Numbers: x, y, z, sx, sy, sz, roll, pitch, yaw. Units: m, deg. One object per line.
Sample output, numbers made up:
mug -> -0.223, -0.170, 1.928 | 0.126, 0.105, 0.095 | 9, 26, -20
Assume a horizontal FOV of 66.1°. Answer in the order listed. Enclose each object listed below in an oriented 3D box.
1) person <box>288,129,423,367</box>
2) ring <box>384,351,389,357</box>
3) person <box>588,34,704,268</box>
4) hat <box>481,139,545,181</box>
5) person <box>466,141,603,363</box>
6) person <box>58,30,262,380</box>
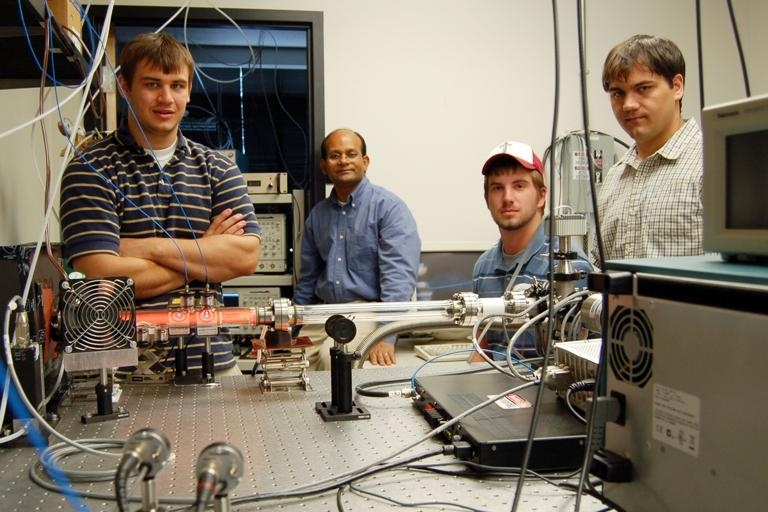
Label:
person -> -0.156, -0.244, 3.443 | 0.851, 1.036, 0.425 | 1, 6, 33
ring -> 0.015, 0.493, 2.987 | 0.020, 0.007, 0.021 | -3, 17, 1
person -> 1.133, -0.455, 2.527 | 0.412, 0.942, 0.422 | 0, 6, 25
hat -> 0.543, -0.399, 2.454 | 0.214, 0.152, 0.296 | -1, -7, 33
person -> 0.550, -0.049, 2.300 | 0.410, 0.811, 0.732 | -2, 6, 10
person -> -0.786, -0.181, 2.071 | 0.679, 1.222, 0.439 | -5, 6, -24
